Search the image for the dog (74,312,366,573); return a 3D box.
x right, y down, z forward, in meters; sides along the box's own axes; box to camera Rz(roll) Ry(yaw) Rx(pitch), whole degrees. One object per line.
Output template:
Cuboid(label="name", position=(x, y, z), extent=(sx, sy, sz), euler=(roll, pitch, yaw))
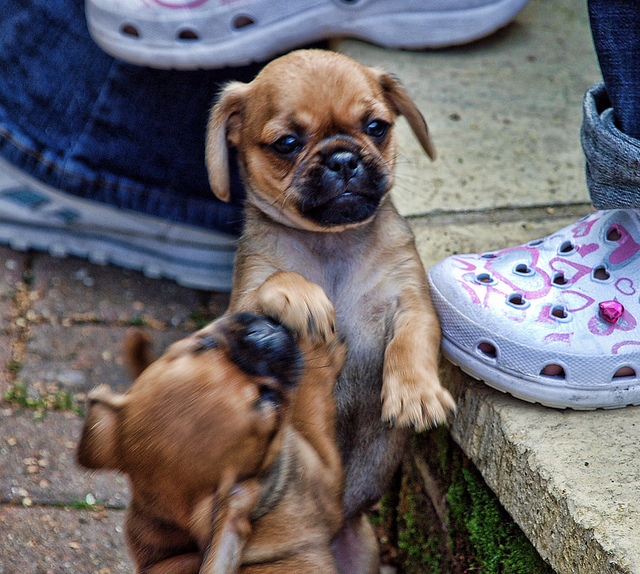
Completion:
Cuboid(label="dog", position=(-0.281, 0.375, 2.233), extent=(0.667, 0.453, 1.020), euler=(0, 103, -16))
